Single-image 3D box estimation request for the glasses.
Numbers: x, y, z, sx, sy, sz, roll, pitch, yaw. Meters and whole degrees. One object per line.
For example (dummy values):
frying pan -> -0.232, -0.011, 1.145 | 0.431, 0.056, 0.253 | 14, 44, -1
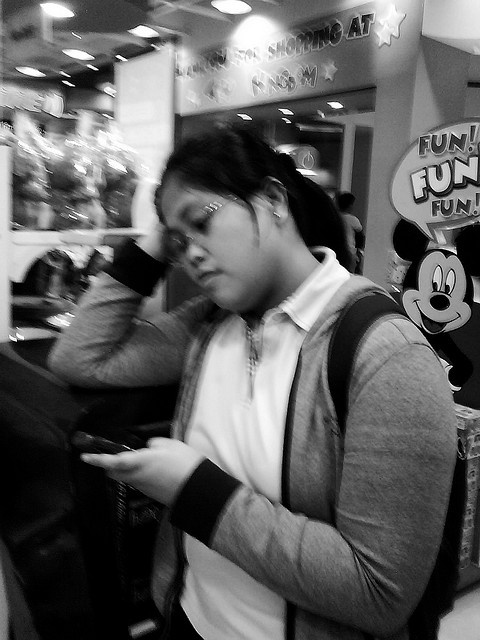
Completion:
glasses -> -0.026, -0.078, 0.466 | 0.058, 0.031, 0.044 | -43, 24, -18
